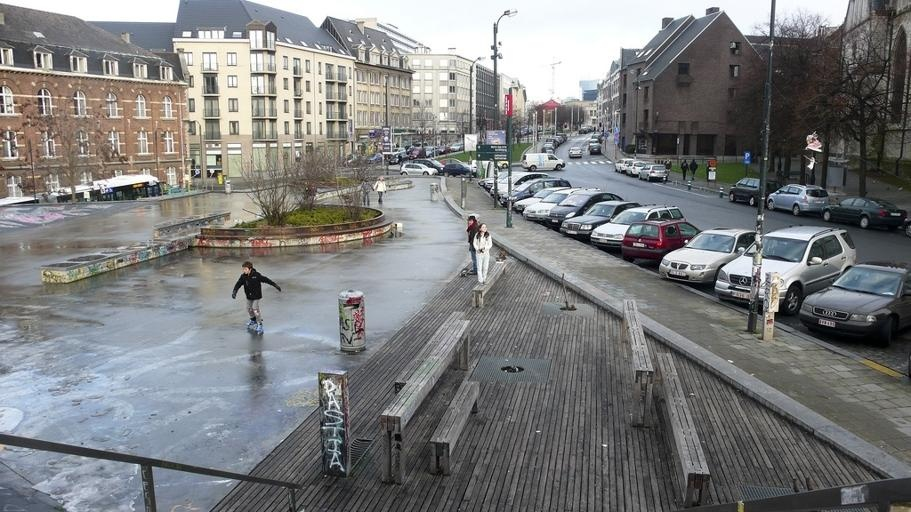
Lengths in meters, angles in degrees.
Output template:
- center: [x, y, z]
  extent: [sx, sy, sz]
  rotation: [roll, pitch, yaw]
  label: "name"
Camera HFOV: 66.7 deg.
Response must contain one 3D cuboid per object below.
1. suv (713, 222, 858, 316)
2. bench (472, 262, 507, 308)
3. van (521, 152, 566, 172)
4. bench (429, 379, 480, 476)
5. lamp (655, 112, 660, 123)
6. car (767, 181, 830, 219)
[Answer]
- center: [12.546, 0.466, 26.311]
  extent: [5.459, 2.212, 2.790]
  rotation: [-9, 8, -31]
  label: "suv"
- center: [1.302, 0.971, 26.933]
  extent: [0.467, 0.652, 4.701]
  rotation: [3, 12, 9]
  label: "bench"
- center: [9.257, -9.893, 74.159]
  extent: [4.510, 1.655, 2.164]
  rotation: [-3, 15, -6]
  label: "van"
- center: [-0.122, 4.542, 18.102]
  extent: [0.613, 1.485, 2.053]
  rotation: [3, 16, 22]
  label: "bench"
- center: [25.291, -17.735, 87.524]
  extent: [0.675, 1.222, 0.263]
  rotation: [-15, 19, -37]
  label: "lamp"
- center: [22.358, -3.724, 45.460]
  extent: [2.026, 1.481, 3.419]
  rotation: [-3, 14, -6]
  label: "car"
